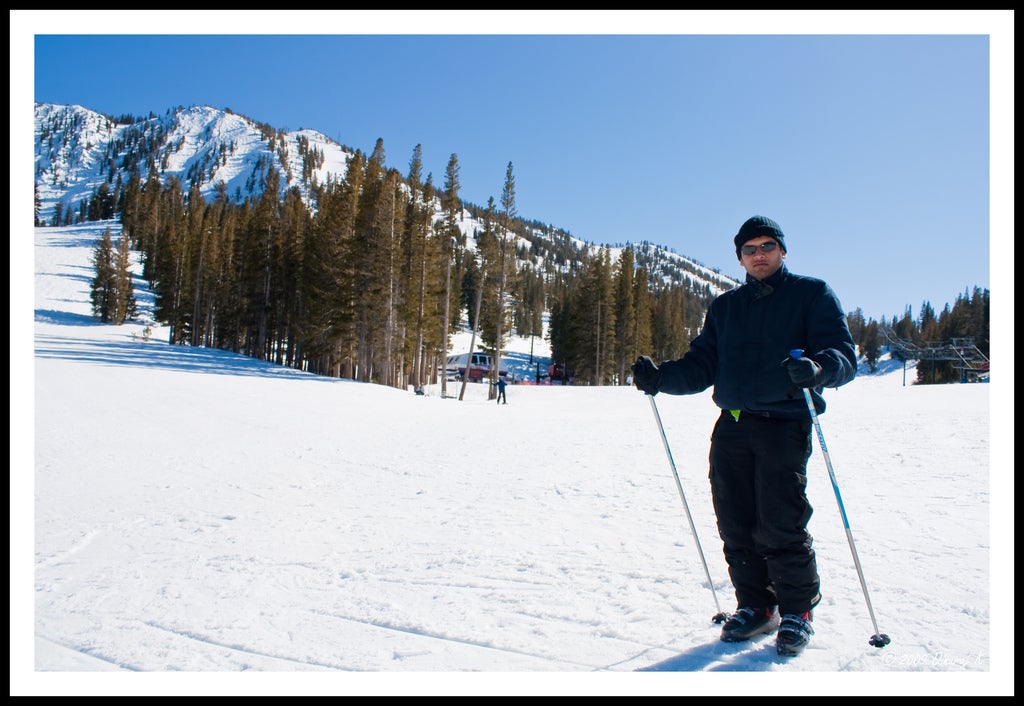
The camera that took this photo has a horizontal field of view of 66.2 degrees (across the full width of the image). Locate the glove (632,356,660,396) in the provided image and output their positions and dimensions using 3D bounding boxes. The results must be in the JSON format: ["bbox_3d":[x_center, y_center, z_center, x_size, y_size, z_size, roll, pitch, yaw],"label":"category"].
[{"bbox_3d":[1.307,0.220,7.638,0.154,0.373,0.252,-3,5,-43],"label":"glove"}]

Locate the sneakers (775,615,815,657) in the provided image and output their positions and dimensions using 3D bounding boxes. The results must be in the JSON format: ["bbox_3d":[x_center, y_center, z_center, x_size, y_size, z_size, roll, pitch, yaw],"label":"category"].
[{"bbox_3d":[2.457,2.471,6.838,0.173,0.229,0.505,6,4,28],"label":"sneakers"}]

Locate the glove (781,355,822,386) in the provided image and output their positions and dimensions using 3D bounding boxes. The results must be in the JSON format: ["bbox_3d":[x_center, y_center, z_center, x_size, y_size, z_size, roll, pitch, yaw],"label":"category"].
[{"bbox_3d":[2.500,0.167,6.759,0.315,0.285,0.168,3,1,21],"label":"glove"}]
